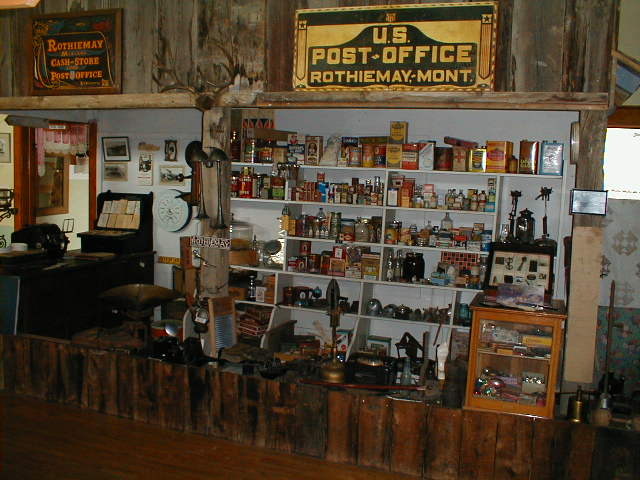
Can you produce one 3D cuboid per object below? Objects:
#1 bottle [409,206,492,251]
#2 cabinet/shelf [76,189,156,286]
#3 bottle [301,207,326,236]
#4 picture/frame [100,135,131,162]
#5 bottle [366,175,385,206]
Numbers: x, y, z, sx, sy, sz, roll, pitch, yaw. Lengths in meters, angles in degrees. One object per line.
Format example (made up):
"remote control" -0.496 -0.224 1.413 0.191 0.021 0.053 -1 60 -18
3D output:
"bottle" 1.568 -0.119 7.348 1.039 0.423 0.480 5 5 12
"cabinet/shelf" -2.861 -0.040 8.727 0.912 1.327 0.773 4 4 -6
"bottle" -0.063 -0.224 7.722 0.375 0.358 0.197 1 -1 23
"picture/frame" -3.032 -1.380 9.064 0.402 0.344 0.054 3 5 22
"bottle" 0.703 -0.597 7.376 0.165 0.352 0.136 4 4 0
